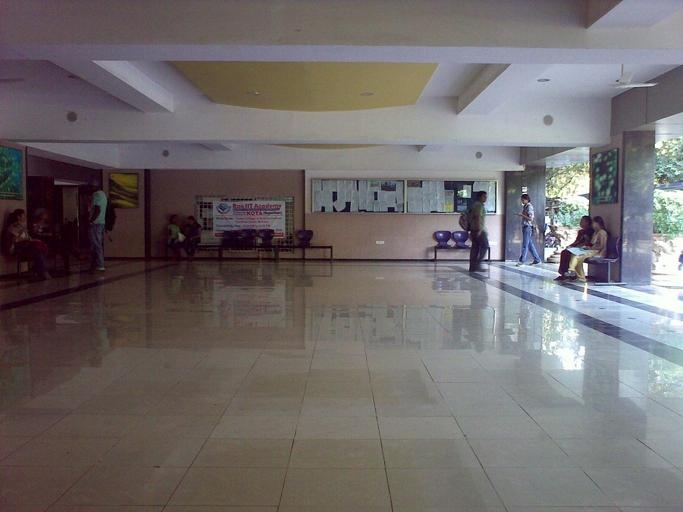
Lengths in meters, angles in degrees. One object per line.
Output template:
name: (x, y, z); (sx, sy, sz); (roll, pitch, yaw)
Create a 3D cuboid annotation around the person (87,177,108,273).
person: (-4.921, -0.569, 10.278); (0.327, 1.757, 0.462); (-3, 8, -27)

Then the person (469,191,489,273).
person: (2.807, -0.475, 10.446); (0.392, 1.660, 0.951); (2, 7, 14)

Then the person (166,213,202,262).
person: (-4.364, -0.544, 13.971); (0.979, 1.198, 0.689); (0, 7, -4)

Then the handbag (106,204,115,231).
handbag: (-6.186, -1.050, 13.598); (0.264, 0.873, 1.439); (-2, 8, -24)

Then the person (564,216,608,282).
person: (4.346, -0.137, 9.393); (0.639, 1.145, 0.444); (-8, -40, 8)

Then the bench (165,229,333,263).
bench: (-2.214, -0.251, 14.362); (5.264, 0.770, 0.561); (-1, -4, 5)

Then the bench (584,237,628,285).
bench: (4.691, -0.011, 9.463); (0.463, 0.774, 1.295); (-3, 10, 9)

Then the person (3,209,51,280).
person: (-5.664, -0.232, 9.138); (0.973, 1.200, 0.501); (4, 8, 26)

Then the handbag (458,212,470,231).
handbag: (2.588, -0.755, 10.693); (0.222, 0.431, 0.747); (2, 7, 12)

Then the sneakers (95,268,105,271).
sneakers: (-4.905, 0.260, 10.399); (0.063, 0.048, 0.145); (1, 0, 6)
